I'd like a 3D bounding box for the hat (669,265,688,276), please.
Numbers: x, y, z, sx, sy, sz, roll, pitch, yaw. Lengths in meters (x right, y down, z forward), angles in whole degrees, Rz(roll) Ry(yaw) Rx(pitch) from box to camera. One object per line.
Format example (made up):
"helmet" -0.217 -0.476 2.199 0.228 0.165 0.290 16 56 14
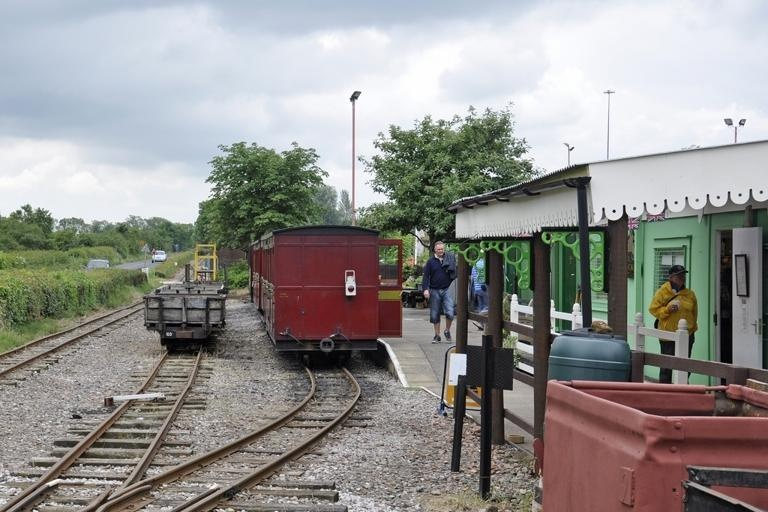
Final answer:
"hat" 4.297 0.215 10.776 0.203 0.151 0.324 0 -6 -42

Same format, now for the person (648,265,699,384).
"person" 4.106 0.934 10.539 0.618 1.576 1.165 1 2 23

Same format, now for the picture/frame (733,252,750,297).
"picture/frame" 5.093 0.279 10.523 0.124 0.610 0.366 0 2 -8

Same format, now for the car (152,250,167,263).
"car" -31.216 0.094 101.964 2.007 1.573 3.335 0 4 -10
